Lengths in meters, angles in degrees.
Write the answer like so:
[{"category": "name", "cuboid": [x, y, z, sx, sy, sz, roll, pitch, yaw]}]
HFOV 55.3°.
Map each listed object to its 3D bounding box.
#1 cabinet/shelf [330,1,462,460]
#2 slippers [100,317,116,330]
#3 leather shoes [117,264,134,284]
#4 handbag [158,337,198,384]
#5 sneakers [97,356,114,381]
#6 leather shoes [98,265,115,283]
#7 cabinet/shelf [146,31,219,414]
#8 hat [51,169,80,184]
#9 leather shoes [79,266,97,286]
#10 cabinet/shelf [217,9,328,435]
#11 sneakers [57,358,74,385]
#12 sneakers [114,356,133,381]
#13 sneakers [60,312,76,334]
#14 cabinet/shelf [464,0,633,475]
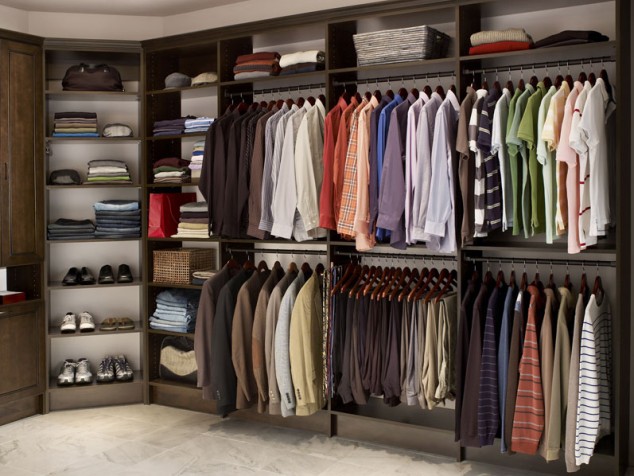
[{"category": "cabinet/shelf", "cuboid": [0.595, -0.064, 4.487, 1.017, 3.107, 0.893, 1, 7, 15]}, {"category": "slippers", "cuboid": [-1.836, 0.752, 5.324, 0.141, 0.057, 0.241, -4, 9, -20]}, {"category": "leather shoes", "cuboid": [-1.707, 0.307, 5.364, 0.129, 0.128, 0.250, -3, 9, -20]}, {"category": "handbag", "cuboid": [-1.150, 1.003, 5.332, 0.345, 0.392, 0.370, 3, 2, 19]}, {"category": "sneakers", "cuboid": [-1.851, 1.141, 5.303, 0.093, 0.126, 0.271, 0, 4, -14]}, {"category": "leather shoes", "cuboid": [-1.845, 0.315, 5.300, 0.128, 0.127, 0.213, -3, 8, -18]}, {"category": "cabinet/shelf", "cuboid": [-1.201, -0.254, 5.328, 0.685, 2.923, 0.656, -1, 7, 0]}, {"category": "hat", "cuboid": [-2.186, -0.525, 5.210, 0.272, 0.130, 0.122, -1, 7, 1]}, {"category": "leather shoes", "cuboid": [-2.025, 0.323, 5.317, 0.124, 0.119, 0.314, -5, 9, -28]}, {"category": "cabinet/shelf", "cuboid": [-0.221, -0.093, 4.774, 0.635, 3.074, 1.032, -1, 7, -3]}, {"category": "sneakers", "cuboid": [-2.149, 1.159, 5.219, 0.092, 0.136, 0.286, 0, 0, -12]}, {"category": "sneakers", "cuboid": [-1.698, 1.142, 5.336, 0.102, 0.138, 0.296, -1, 1, -21]}, {"category": "sneakers", "cuboid": [-2.149, 0.737, 5.282, 0.091, 0.128, 0.294, 0, -5, -10]}, {"category": "cabinet/shelf", "cuboid": [1.581, -0.034, 4.051, 1.026, 3.113, 0.890, 2, 7, 24]}]
